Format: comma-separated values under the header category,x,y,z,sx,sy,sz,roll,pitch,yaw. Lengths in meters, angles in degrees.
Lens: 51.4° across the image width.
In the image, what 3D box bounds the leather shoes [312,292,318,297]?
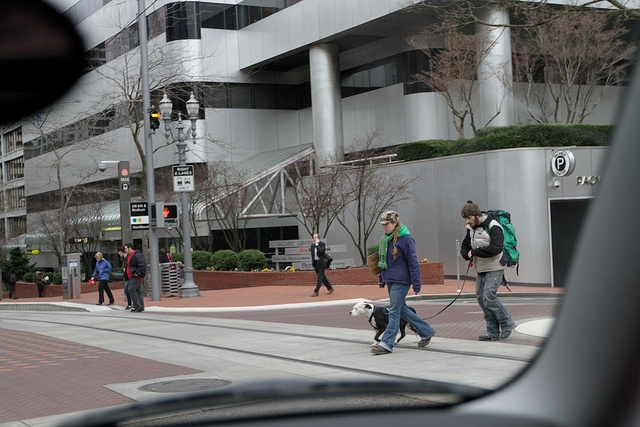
category,x,y,z,sx,sy,sz,roll,pitch,yaw
leather shoes,-0.125,2.551,20.928,0.192,0.138,0.572,-10,0,0

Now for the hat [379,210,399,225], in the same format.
category,x,y,z,sx,sy,sz,roll,pitch,yaw
hat,1.027,0.051,10.091,0.262,0.144,0.188,2,5,32

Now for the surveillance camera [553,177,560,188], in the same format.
category,x,y,z,sx,sy,sz,roll,pitch,yaw
surveillance camera,8.144,-1.097,22.948,0.226,0.320,0.157,-2,-16,-4

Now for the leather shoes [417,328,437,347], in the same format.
category,x,y,z,sx,sy,sz,roll,pitch,yaw
leather shoes,1.632,1.877,10.078,0.239,0.263,0.418,-9,0,32

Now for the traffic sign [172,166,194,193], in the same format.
category,x,y,z,sx,sy,sz,roll,pitch,yaw
traffic sign,-4.578,-1.238,22.478,0.728,0.951,0.746,-9,0,-19

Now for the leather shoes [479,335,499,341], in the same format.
category,x,y,z,sx,sy,sz,roll,pitch,yaw
leather shoes,2.529,1.873,9.974,0.252,0.103,0.099,8,-10,-9

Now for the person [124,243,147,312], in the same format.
category,x,y,z,sx,sy,sz,roll,pitch,yaw
person,-5.176,1.831,18.913,0.573,2.009,1.440,-9,0,-18

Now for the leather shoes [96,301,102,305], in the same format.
category,x,y,z,sx,sy,sz,roll,pitch,yaw
leather shoes,-7.475,3.067,22.713,0.108,0.092,0.229,-3,-14,8

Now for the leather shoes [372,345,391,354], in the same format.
category,x,y,z,sx,sy,sz,roll,pitch,yaw
leather shoes,0.915,1.973,9.619,0.297,0.133,0.119,8,-4,-14

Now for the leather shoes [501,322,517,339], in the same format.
category,x,y,z,sx,sy,sz,roll,pitch,yaw
leather shoes,2.799,1.760,9.983,0.179,0.222,0.422,-9,0,34

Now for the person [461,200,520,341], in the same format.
category,x,y,z,sx,sy,sz,roll,pitch,yaw
person,2.630,0.840,10.288,0.735,2.153,1.023,-9,0,7

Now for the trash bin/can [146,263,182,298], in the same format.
category,x,y,z,sx,sy,sz,roll,pitch,yaw
trash bin/can,-5.893,2.516,26.208,1.380,1.483,1.410,1,-3,11
